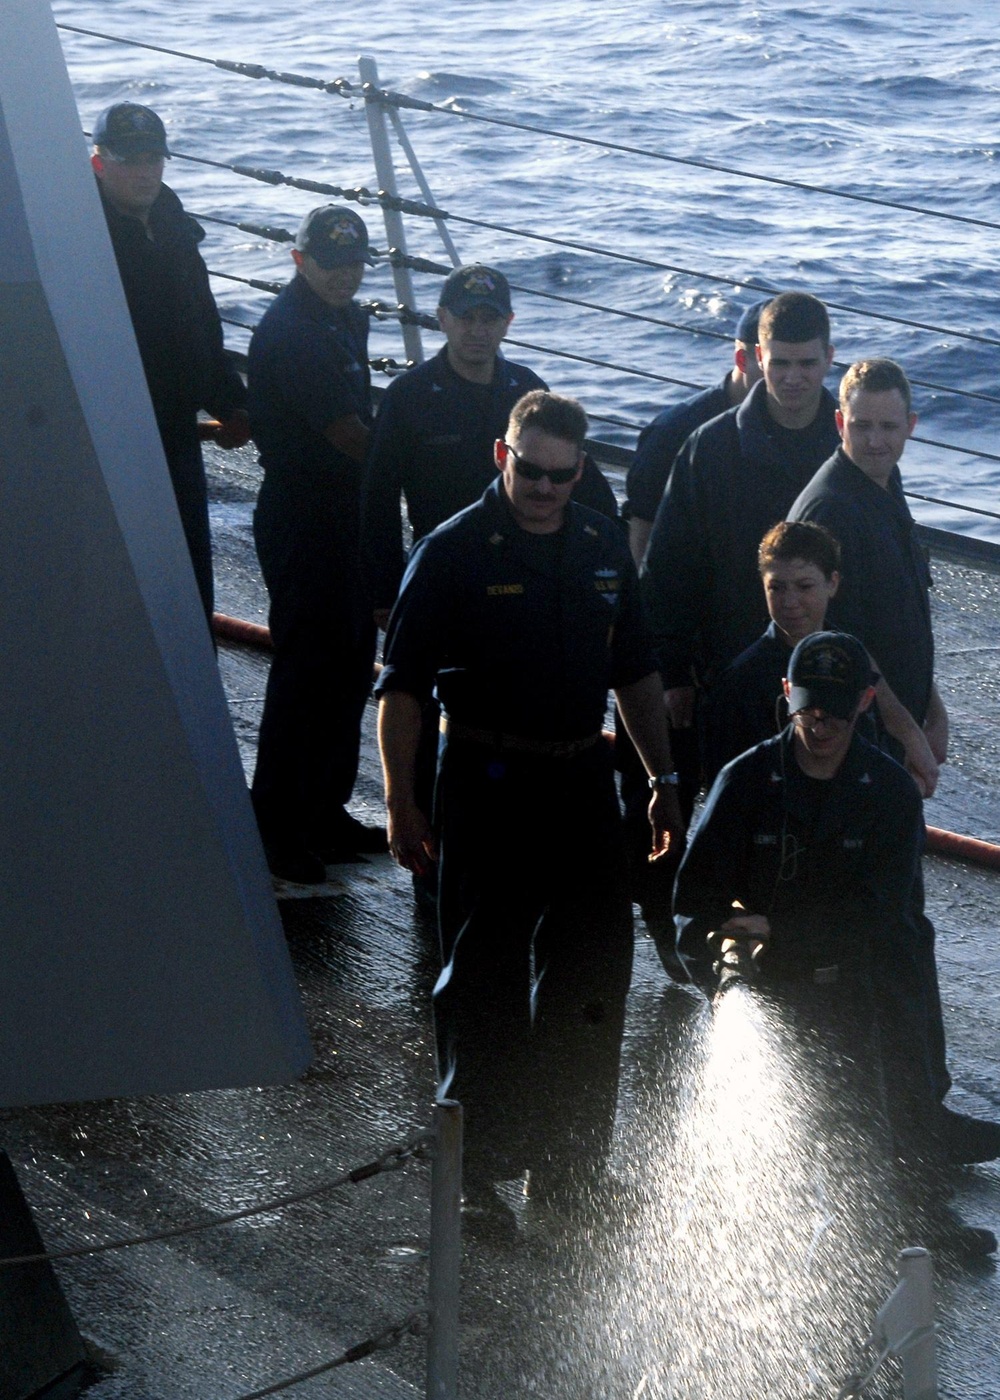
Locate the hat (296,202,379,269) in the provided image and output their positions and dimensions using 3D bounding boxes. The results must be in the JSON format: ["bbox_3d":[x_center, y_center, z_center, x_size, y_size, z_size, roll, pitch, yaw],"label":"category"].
[{"bbox_3d":[-0.478,-1.315,4.274,0.175,0.129,0.232,-8,43,-15],"label":"hat"}]

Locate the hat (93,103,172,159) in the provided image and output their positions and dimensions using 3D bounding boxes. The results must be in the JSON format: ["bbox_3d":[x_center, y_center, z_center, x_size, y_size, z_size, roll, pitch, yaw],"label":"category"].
[{"bbox_3d":[-1.007,-1.548,4.084,0.179,0.125,0.238,-8,27,-27],"label":"hat"}]

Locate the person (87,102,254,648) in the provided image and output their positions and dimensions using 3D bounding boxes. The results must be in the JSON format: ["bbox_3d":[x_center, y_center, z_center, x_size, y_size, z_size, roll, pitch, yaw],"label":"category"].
[{"bbox_3d":[-0.898,-0.868,4.295,0.340,1.549,0.689,-7,30,-11],"label":"person"}]

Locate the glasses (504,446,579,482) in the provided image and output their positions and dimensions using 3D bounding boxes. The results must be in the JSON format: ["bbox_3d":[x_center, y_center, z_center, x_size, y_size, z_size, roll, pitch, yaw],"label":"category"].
[{"bbox_3d":[0.087,-0.465,2.988,0.138,0.070,0.072,0,28,-1],"label":"glasses"}]

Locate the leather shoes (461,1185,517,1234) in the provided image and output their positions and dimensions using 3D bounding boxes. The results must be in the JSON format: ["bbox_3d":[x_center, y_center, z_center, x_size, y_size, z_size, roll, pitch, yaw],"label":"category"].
[{"bbox_3d":[-0.020,0.941,2.749,0.097,0.048,0.116,-3,27,-7],"label":"leather shoes"}]

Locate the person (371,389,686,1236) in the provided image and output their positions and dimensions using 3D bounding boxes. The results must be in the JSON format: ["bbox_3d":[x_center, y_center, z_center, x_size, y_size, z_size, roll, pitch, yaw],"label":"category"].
[{"bbox_3d":[0.046,0.149,2.971,0.623,1.347,0.985,3,29,7],"label":"person"}]

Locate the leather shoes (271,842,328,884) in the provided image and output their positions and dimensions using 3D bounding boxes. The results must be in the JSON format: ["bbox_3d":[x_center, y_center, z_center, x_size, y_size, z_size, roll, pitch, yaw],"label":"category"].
[{"bbox_3d":[-0.560,0.458,4.154,0.218,0.077,0.069,22,-13,-17],"label":"leather shoes"}]
